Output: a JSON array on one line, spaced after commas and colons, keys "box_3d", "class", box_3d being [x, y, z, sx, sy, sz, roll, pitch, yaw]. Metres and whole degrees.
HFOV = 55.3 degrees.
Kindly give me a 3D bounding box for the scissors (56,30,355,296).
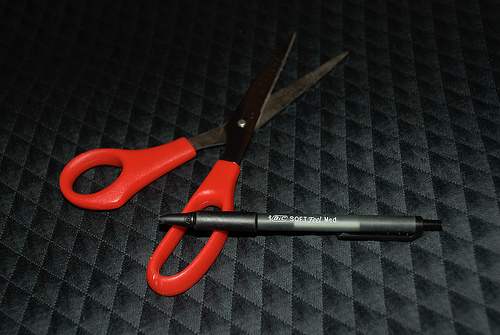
[{"box_3d": [-0.076, -0.050, 0.859, 0.298, 0.042, 0.542, 31, 66, 20], "class": "scissors"}]
